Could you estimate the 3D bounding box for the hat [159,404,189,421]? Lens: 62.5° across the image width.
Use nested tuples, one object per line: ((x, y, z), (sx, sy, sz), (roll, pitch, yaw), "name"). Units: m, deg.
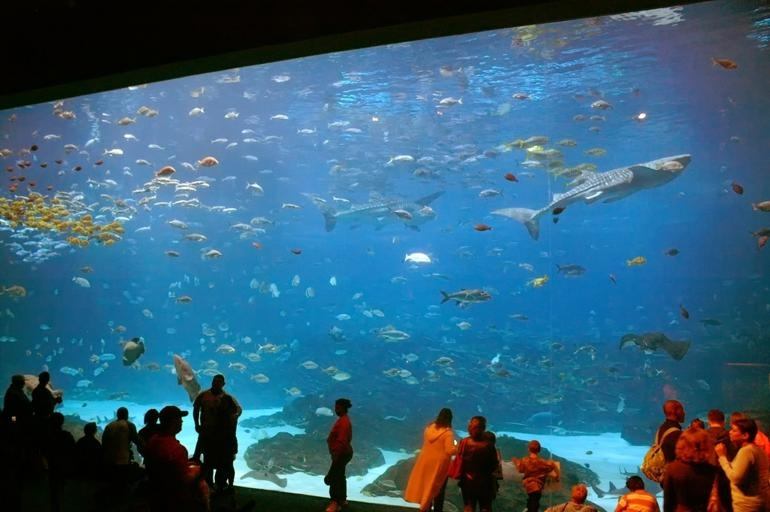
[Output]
((-9.019, 6.650, 26.940), (1.186, 0.496, 0.706), (-6, 0, -16), "hat")
